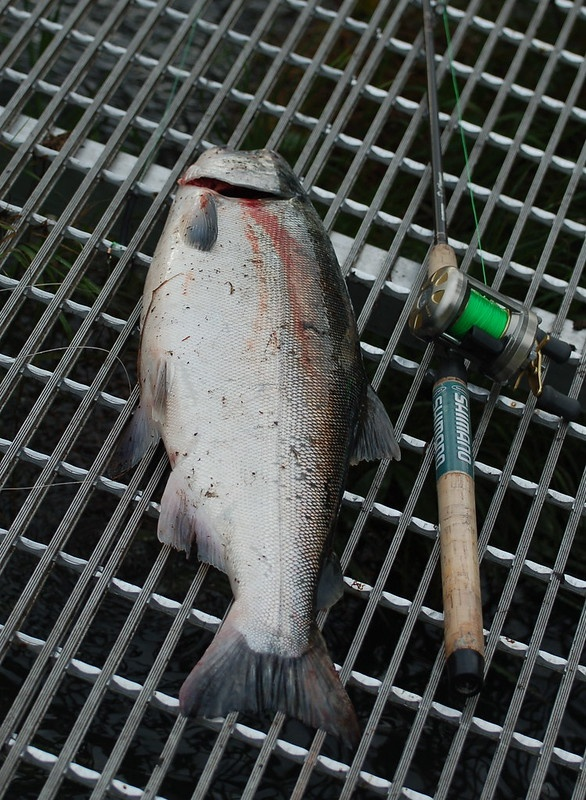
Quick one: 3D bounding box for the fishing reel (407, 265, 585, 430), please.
[{"bbox_3d":[0.484,-0.144,2.569,0.497,0.185,0.276,27,47,-8],"label":"fishing reel"}]
